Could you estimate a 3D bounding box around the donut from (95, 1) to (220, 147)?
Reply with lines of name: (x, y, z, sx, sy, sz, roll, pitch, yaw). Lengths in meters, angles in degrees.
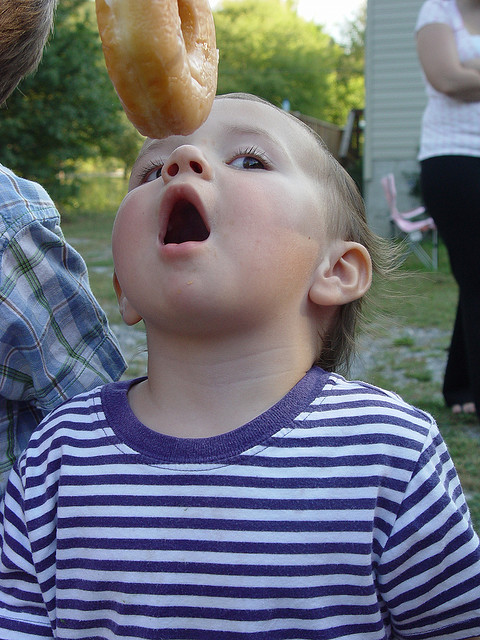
donut: (-0.096, -0.398, 1.169, 0.122, 0.207, 0.284, 15, 41, 22)

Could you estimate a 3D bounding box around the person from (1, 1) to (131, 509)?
person: (-0.486, -0.187, 1.710, 0.343, 0.894, 0.365, 11, 19, 38)

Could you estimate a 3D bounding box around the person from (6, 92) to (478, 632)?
person: (-0.074, 0.095, 1.307, 0.801, 0.726, 0.799, -10, 38, -9)
